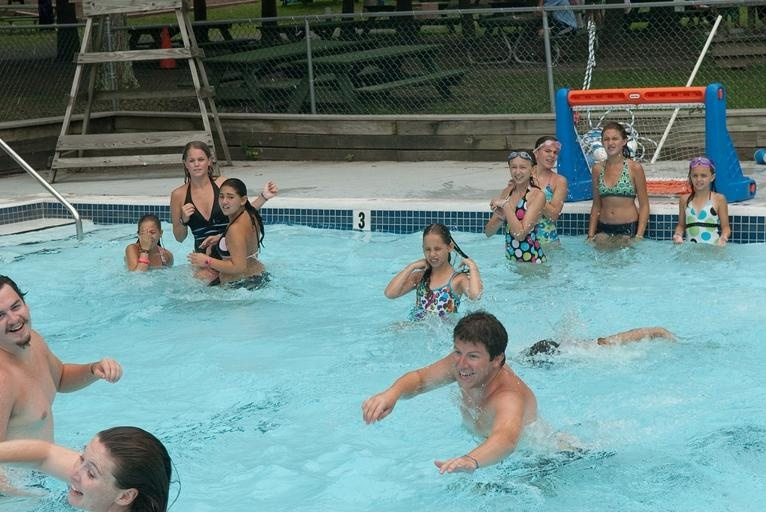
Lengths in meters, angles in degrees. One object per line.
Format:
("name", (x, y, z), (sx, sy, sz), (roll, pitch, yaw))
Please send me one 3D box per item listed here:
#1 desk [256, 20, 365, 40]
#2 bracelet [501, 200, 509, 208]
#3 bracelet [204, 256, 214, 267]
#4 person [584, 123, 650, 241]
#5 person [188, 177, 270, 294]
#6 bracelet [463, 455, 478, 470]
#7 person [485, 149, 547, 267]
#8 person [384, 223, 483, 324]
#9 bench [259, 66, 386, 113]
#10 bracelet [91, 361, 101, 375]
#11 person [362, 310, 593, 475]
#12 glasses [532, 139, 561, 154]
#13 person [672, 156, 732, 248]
("desk", (-1.431, -3.979, 11.470), (1.074, 0.417, 1.725), (-18, 22, -41))
("bracelet", (1.231, -0.532, 6.616), (0.058, 0.070, 0.026), (23, 45, -27))
("bracelet", (-1.690, 0.051, 6.188), (0.058, 0.118, 0.197), (-8, 17, -13))
("person", (2.745, -0.480, 7.641), (0.686, 2.078, 0.684), (4, 16, 36))
("person", (-1.604, -0.175, 6.563), (0.833, 1.099, 0.822), (-2, 13, -10))
("bracelet", (0.460, 1.075, 3.423), (0.076, 0.072, 0.058), (-4, 2, 36))
("person", (1.421, -0.503, 6.913), (0.697, 1.211, 0.493), (-6, 18, -9))
("person", (0.422, 0.137, 5.620), (0.828, 0.875, 0.325), (0, 18, 10))
("bench", (-1.244, -2.933, 11.696), (1.941, 0.708, 0.866), (-6, 17, -9))
("bracelet", (-1.785, 0.681, 3.950), (0.067, 0.069, 0.071), (-5, -24, 9))
("person", (0.525, 0.853, 4.003), (0.866, 1.023, 1.192), (11, 22, 40))
("glasses", (1.796, -1.219, 7.143), (0.260, 0.141, 0.199), (-4, 17, -2))
("person", (3.551, -0.600, 7.156), (0.556, 0.929, 0.359), (5, 19, 24))
